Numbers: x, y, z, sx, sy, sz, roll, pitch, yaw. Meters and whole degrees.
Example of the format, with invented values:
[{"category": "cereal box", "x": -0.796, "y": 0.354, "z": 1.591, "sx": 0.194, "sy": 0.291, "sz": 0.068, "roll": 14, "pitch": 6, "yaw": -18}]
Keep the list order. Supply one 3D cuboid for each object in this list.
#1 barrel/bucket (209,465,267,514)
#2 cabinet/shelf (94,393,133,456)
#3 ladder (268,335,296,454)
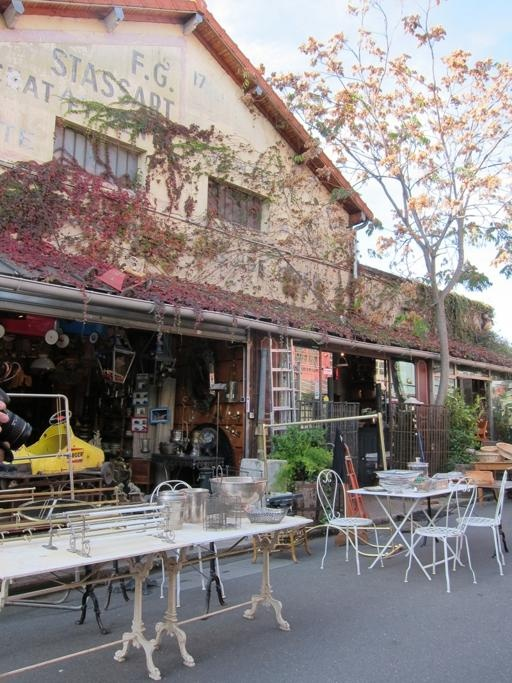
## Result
[{"category": "barrel/bucket", "x": -0.125, "y": 1.005, "z": 3.676, "sx": 0.303, "sy": 0.197, "sz": 0.300, "roll": -4, "pitch": -6, "yaw": 0}, {"category": "cabinet/shelf", "x": -2.537, "y": 1.530, "z": 9.750, "sx": 1.008, "sy": 1.156, "sz": 0.337, "roll": -4, "pitch": -6, "yaw": 43}, {"category": "ladder", "x": 0.467, "y": 0.755, "z": 9.018, "sx": 0.410, "sy": 1.705, "sz": 0.359, "roll": 8, "pitch": -4, "yaw": -40}]
